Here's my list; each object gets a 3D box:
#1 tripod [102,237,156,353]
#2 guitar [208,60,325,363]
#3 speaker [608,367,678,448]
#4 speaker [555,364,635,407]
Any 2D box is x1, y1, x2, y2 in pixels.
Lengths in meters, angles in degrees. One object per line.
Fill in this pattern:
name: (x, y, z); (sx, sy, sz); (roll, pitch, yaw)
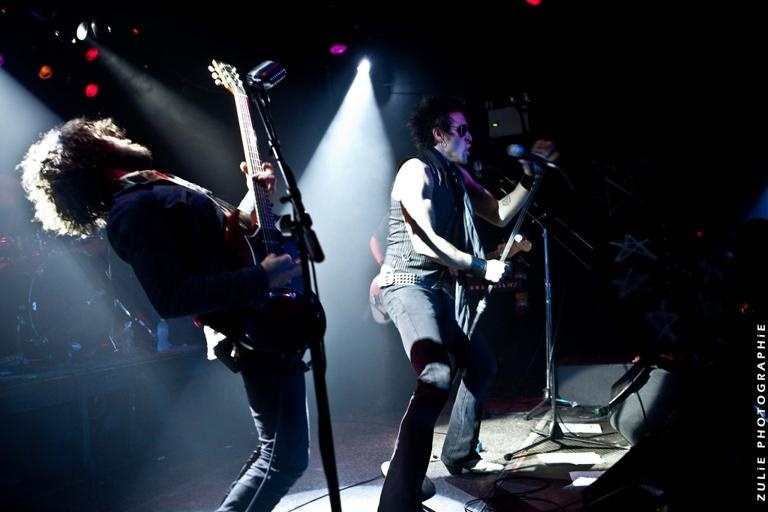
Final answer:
tripod: (-2.372, 0.374, 5.433); (0.161, 1.140, 0.439); (-11, -6, 21)
guitar: (-0.802, -0.219, 4.230); (0.847, 2.345, 0.265); (-8, -9, -44)
speaker: (2.207, 1.315, 5.067); (0.297, 0.775, 0.670); (-3, 2, -5)
speaker: (2.429, 1.500, 7.019); (1.122, 0.620, 0.266); (2, -2, 24)
